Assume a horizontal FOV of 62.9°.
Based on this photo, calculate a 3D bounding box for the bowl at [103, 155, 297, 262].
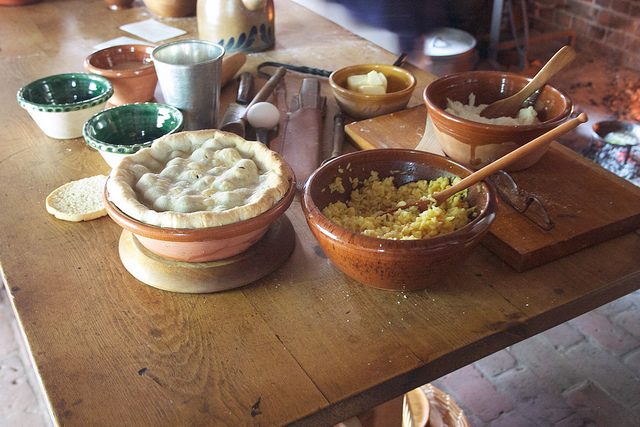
[{"bbox_3d":[-0.271,-0.044,1.128,0.386,0.172,0.285,-16,27,-27],"label":"bowl"}]

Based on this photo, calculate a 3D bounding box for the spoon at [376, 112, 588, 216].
[{"bbox_3d":[0.361,-0.104,1.163,0.437,0.083,0.044,-28,69,14],"label":"spoon"}]

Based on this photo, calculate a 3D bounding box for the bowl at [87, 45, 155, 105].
[{"bbox_3d":[-0.561,-0.408,1.525,0.232,0.117,0.220,2,35,-2],"label":"bowl"}]

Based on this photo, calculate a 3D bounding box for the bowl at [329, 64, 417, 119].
[{"bbox_3d":[0.151,-0.342,1.484,0.204,0.080,0.192,0,34,0],"label":"bowl"}]

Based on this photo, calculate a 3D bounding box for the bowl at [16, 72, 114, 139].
[{"bbox_3d":[-0.691,-0.313,1.429,0.220,0.097,0.224,3,37,-2],"label":"bowl"}]

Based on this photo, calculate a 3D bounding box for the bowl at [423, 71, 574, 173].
[{"bbox_3d":[0.402,-0.250,1.286,0.326,0.130,0.310,-3,36,2],"label":"bowl"}]

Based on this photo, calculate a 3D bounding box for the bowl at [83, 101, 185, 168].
[{"bbox_3d":[-0.488,-0.218,1.373,0.229,0.223,0.083,-27,71,-7],"label":"bowl"}]

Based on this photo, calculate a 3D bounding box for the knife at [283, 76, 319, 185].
[{"bbox_3d":[-0.049,-0.253,1.373,0.084,0.025,0.315,0,41,4],"label":"knife"}]

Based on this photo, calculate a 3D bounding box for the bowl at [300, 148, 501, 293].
[{"bbox_3d":[0.130,0.027,1.053,0.350,0.143,0.350,4,32,-3],"label":"bowl"}]

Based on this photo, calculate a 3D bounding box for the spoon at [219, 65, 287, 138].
[{"bbox_3d":[-0.172,-0.321,1.482,0.093,0.034,0.295,9,45,27],"label":"spoon"}]
